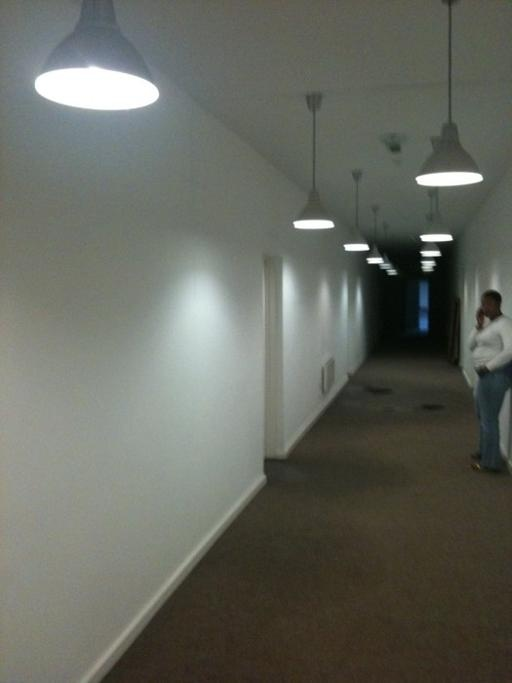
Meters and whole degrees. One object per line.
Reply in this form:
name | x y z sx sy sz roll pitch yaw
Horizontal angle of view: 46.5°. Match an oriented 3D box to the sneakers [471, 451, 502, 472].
sneakers | 1.111 0.585 2.897 0.138 0.057 0.051 0 15 42
